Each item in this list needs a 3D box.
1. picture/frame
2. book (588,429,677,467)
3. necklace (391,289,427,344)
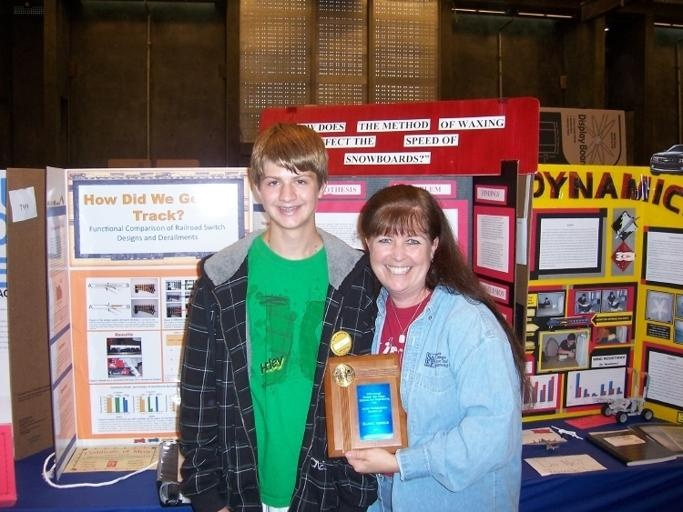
[{"bbox_3d":[0.106,0.686,2.924,0.492,0.482,0.118,17,-13,-19],"label":"picture/frame"},{"bbox_3d":[1.570,1.022,3.418,0.205,0.031,0.194,-5,19,-18],"label":"book"},{"bbox_3d":[0.308,0.283,2.920,0.112,0.224,0.110,4,-2,24],"label":"necklace"}]
